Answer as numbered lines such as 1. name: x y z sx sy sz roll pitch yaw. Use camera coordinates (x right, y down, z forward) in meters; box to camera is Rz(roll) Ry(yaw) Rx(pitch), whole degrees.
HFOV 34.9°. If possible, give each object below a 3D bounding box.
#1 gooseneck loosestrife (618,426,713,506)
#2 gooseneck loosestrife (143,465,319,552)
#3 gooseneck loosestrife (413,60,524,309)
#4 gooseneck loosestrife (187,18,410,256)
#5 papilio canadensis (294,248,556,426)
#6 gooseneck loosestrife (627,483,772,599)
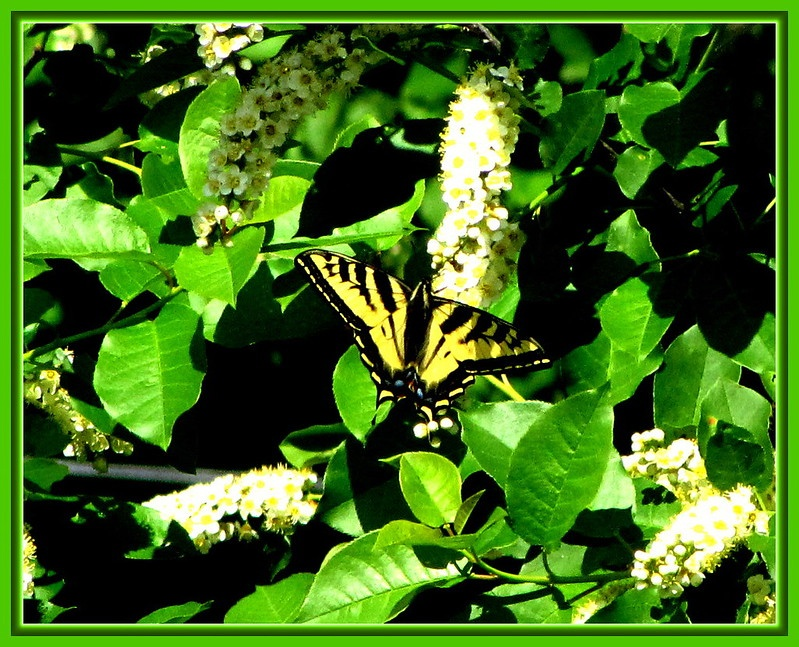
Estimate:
1. gooseneck loosestrife: 0.587 0.315 2.785 0.119 0.168 0.170 -12 17 -37
2. gooseneck loosestrife: -0.406 0.451 3.021 0.441 0.194 0.122 -4 38 1
3. gooseneck loosestrife: 0.182 -0.300 2.813 0.199 0.462 0.309 6 40 15
4. gooseneck loosestrife: -0.261 -0.468 2.861 0.659 0.277 0.214 -34 46 -30
5. papilio canadensis: 0.046 0.016 2.940 0.423 0.437 0.472 -4 8 -21
6. gooseneck loosestrife: 0.634 0.492 2.685 0.177 0.210 0.340 29 50 36
